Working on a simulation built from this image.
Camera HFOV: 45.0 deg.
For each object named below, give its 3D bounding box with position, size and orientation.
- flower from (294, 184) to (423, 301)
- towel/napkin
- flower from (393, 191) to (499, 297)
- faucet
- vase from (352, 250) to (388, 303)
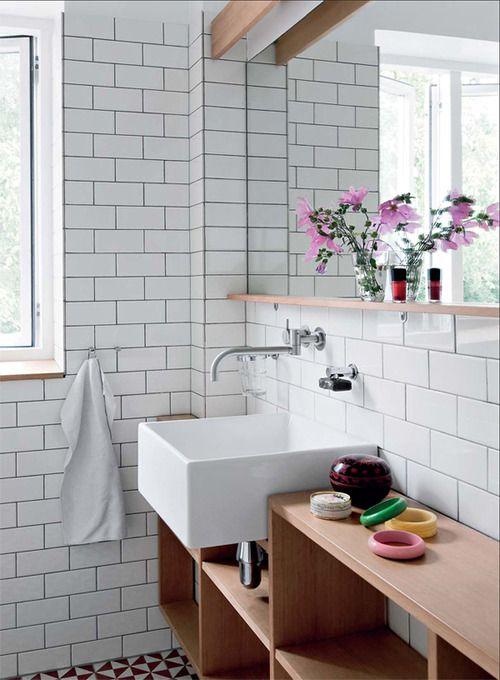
[{"bbox_3d":[0.337,-0.249,1.655,0.286,0.270,0.323,-1,3,-39],"label":"flower"},{"bbox_3d":[-0.624,0.425,2.315,0.233,0.723,0.117,-5,5,-11],"label":"towel/napkin"},{"bbox_3d":[0.430,-0.223,1.339,0.090,0.194,0.162,-1,13,-24],"label":"flower"},{"bbox_3d":[0.051,0.045,1.825,0.342,0.162,0.096,-3,-14,19],"label":"faucet"},{"bbox_3d":[0.316,-0.158,1.499,0.109,0.125,0.102,2,-1,-1],"label":"vase"}]
